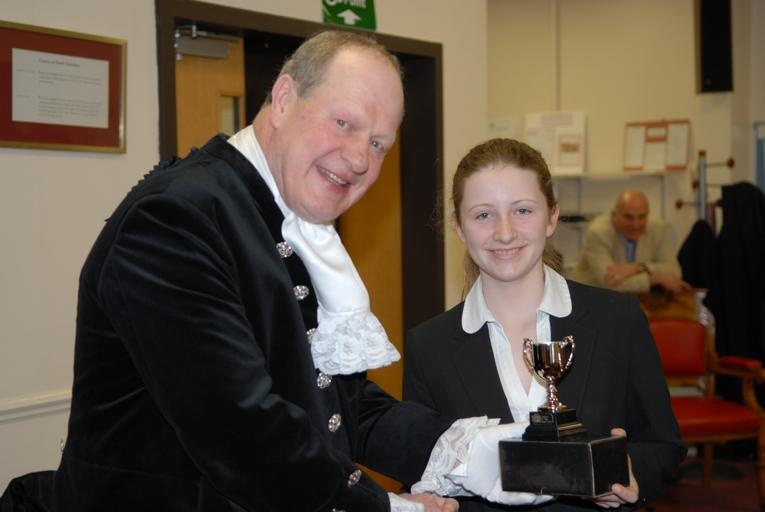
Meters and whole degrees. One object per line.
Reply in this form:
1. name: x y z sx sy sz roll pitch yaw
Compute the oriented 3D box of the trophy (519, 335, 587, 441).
1. trophy: 0.534 0.412 2.086 0.256 0.388 0.201 -5 -5 41
